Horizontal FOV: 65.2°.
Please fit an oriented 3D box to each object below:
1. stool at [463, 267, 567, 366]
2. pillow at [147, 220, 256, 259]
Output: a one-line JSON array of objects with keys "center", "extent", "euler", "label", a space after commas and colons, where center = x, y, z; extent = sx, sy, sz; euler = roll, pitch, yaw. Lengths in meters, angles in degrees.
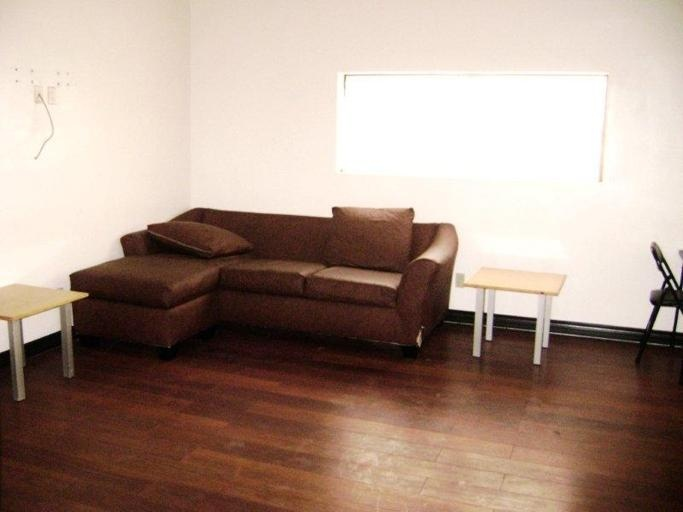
[{"center": [1.417, 0.367, 4.310], "extent": [0.768, 0.673, 0.799], "euler": [5, 8, 22], "label": "stool"}, {"center": [-1.220, -0.140, 4.700], "extent": [0.535, 0.184, 0.449], "euler": [11, -6, 33], "label": "pillow"}]
